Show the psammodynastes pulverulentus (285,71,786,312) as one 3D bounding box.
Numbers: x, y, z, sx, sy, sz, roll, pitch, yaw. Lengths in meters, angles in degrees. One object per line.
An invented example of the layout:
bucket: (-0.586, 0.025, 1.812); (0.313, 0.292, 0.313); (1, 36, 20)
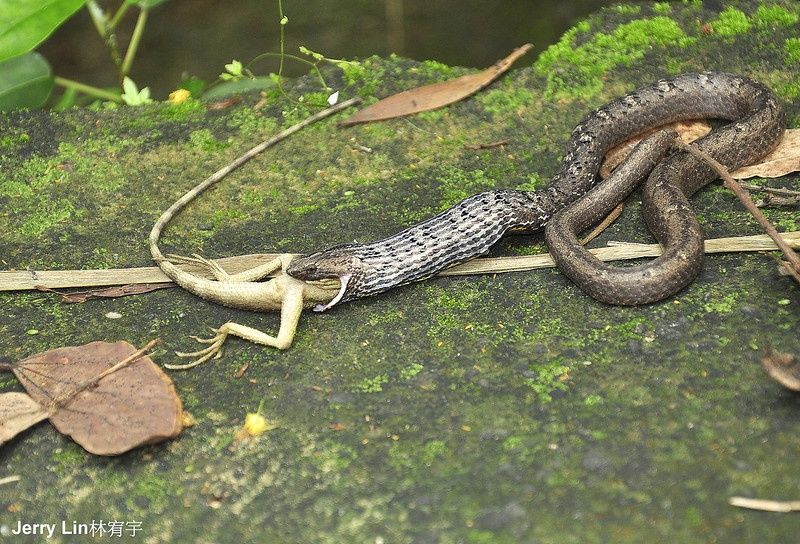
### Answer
psammodynastes pulverulentus: (1.521, -0.428, 6.121); (4.733, 0.541, 2.215); (-25, 49, -10)
